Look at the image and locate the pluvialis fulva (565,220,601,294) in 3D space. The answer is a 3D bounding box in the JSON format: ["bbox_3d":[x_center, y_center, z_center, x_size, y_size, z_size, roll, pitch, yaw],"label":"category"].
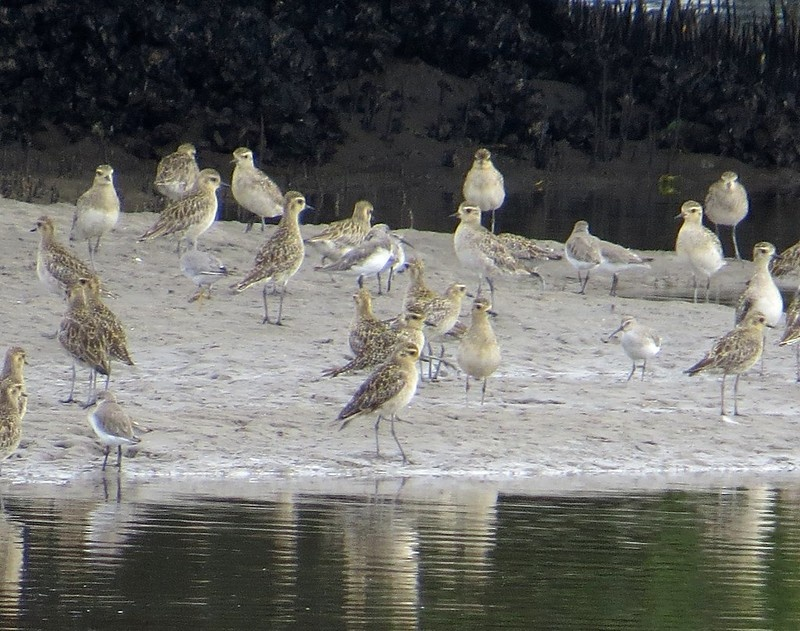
[{"bbox_3d":[3.302,-1.059,29.794,0.645,1.230,2.266,4,8,6],"label":"pluvialis fulva"}]

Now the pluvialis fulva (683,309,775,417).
[{"bbox_3d":[4.526,0.633,22.652,0.755,1.329,1.564,6,9,20],"label":"pluvialis fulva"}]

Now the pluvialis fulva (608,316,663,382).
[{"bbox_3d":[3.435,0.491,23.938,0.596,0.925,1.115,-4,-7,39],"label":"pluvialis fulva"}]
